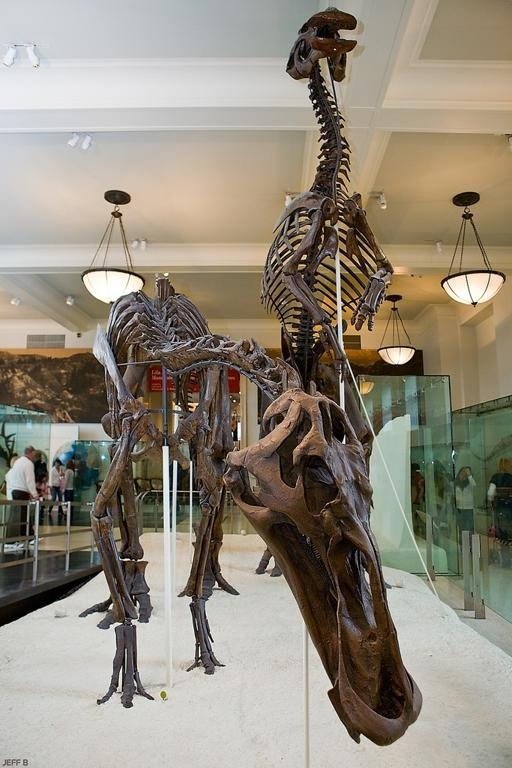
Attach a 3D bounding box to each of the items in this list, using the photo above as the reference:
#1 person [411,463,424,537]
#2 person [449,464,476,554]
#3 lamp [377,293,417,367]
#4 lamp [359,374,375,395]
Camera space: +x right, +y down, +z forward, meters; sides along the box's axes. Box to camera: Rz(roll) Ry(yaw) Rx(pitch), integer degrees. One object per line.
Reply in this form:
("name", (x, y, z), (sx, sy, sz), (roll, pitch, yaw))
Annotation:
("person", (1.715, 1.220, 5.630), (0.135, 0.777, 0.230), (-3, -6, 3))
("person", (1.935, 1.110, 4.870), (0.177, 0.710, 0.508), (-5, -6, 15))
("lamp", (2.425, -0.970, 9.205), (0.628, 1.161, 0.603), (-6, 10, -6))
("lamp", (1.215, 0.006, 5.793), (0.189, 0.183, 0.188), (-1, 3, 18))
